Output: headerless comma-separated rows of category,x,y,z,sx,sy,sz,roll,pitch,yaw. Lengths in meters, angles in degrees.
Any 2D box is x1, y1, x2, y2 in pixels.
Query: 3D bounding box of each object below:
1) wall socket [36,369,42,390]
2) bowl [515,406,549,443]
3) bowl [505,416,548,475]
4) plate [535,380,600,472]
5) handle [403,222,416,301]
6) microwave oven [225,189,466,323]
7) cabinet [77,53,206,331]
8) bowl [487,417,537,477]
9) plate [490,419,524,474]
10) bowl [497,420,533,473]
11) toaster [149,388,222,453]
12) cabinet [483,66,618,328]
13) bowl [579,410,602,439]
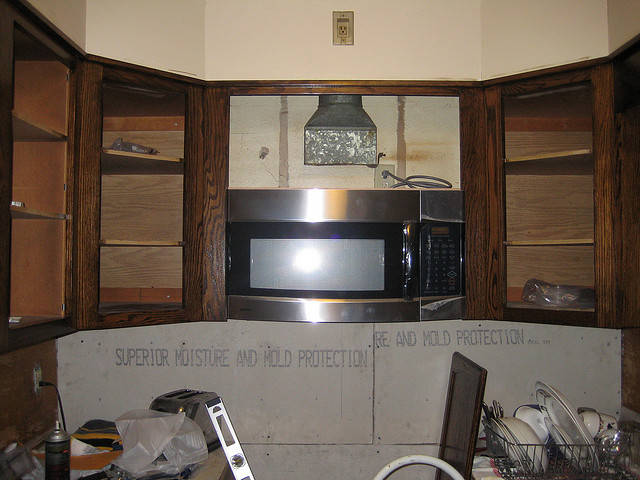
wall socket,-1.157,0.574,2.255,0.015,0.082,0.038,3,-4,-5
bowl,0.827,0.718,2.113,0.026,0.093,0.114,-6,32,-31
bowl,0.746,0.755,2.041,0.031,0.135,0.150,-30,32,16
plate,0.908,0.692,2.103,0.175,0.289,0.335,3,-4,-5
handle,0.337,0.082,2.086,0.054,0.295,0.022,3,-3,4
microwave oven,0.100,0.067,2.341,1.000,0.495,0.560,0,2,-2
cabinet,-0.771,-0.121,2.279,0.632,0.899,0.518,4,-7,-43
bowl,0.696,0.757,2.012,0.037,0.156,0.145,-23,-17,6
plate,0.669,0.763,2.013,0.035,0.135,0.105,-16,-14,-9
bowl,0.708,0.756,2.012,0.050,0.151,0.139,6,-5,-35
toaster,-0.516,0.682,2.199,0.286,0.239,0.273,2,0,19
cabinet,0.988,-0.146,2.151,0.568,0.976,0.549,1,-2,-27
bowl,1.050,0.712,2.129,0.071,0.082,0.086,1,26,31
